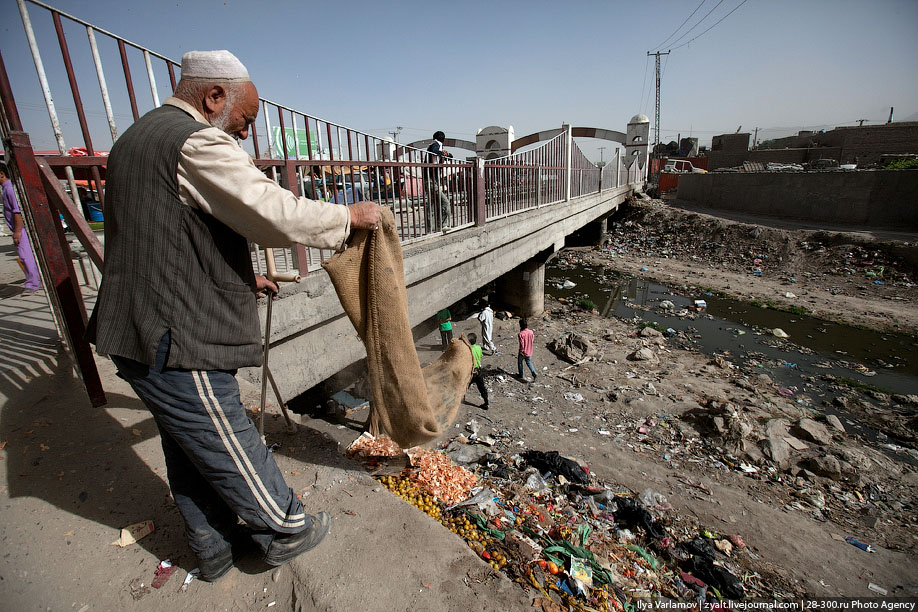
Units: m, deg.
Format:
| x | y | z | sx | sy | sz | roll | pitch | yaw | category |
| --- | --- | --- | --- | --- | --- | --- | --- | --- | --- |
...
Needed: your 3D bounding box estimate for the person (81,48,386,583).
| x | y | z | sx | sy | sz | roll | pitch | yaw | category |
| --- | --- | --- | --- | --- | --- | --- | --- | --- | --- |
| -1.586 | 0.064 | 3.188 | 1.298 | 3.288 | 1.082 | 7 | 21 | 21 | person |
